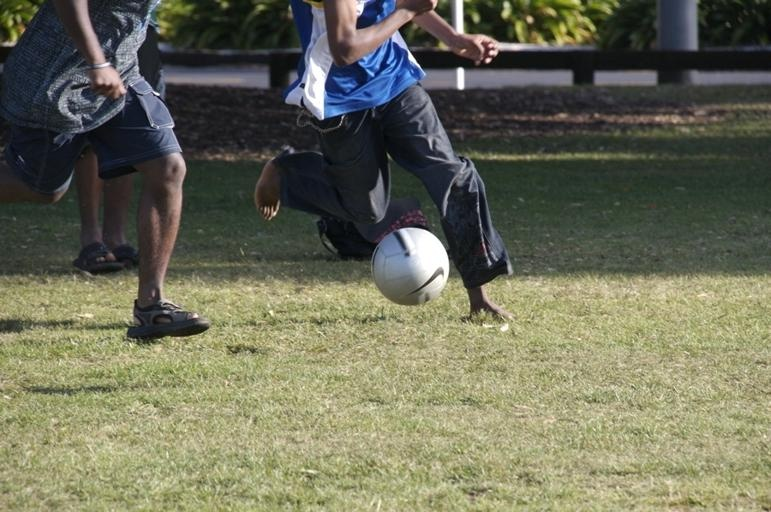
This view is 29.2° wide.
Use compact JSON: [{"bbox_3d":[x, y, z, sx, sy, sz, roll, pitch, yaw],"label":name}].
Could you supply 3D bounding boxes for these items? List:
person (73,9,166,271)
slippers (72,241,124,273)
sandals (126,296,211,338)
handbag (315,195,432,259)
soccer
[{"bbox_3d":[-1.930,-0.751,10.590,0.771,1.965,0.583,0,-6,-1],"label":"person"},{"bbox_3d":[-1.988,0.005,10.231,0.154,0.128,0.390,-5,3,-36],"label":"slippers"},{"bbox_3d":[-1.374,0.376,9.199,0.236,0.197,0.634,-3,1,-2],"label":"sandals"},{"bbox_3d":[-0.077,-0.190,10.422,0.725,0.331,0.421,-9,13,6],"label":"handbag"},{"bbox_3d":[0.229,0.065,9.551,0.600,0.599,0.598,-1,3,34],"label":"soccer"}]
